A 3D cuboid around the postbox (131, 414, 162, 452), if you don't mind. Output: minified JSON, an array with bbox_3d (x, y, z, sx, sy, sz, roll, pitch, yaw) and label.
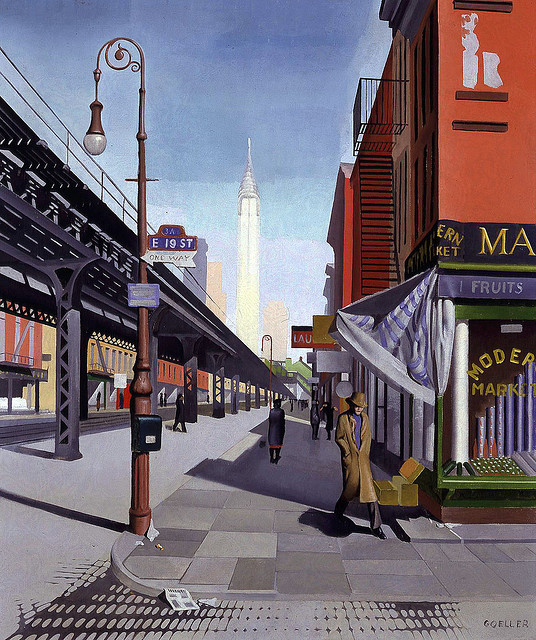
[{"bbox_3d":[-1.700,1.588,11.794,0.429,0.529,0.478,1,-5,-5],"label":"postbox"}]

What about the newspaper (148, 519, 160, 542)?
[{"bbox_3d":[-1.626,2.997,11.970,0.137,0.322,0.042,-1,-18,-6],"label":"newspaper"}]

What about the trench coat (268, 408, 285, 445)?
[{"bbox_3d":[0.200,2.395,18.952,0.328,0.822,0.753,0,-5,-2],"label":"trench coat"}]

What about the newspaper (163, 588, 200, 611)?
[{"bbox_3d":[-1.007,3.248,9.787,0.331,0.185,0.488,3,-7,-30],"label":"newspaper"}]

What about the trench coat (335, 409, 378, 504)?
[{"bbox_3d":[1.298,2.004,12.365,0.587,1.359,0.532,0,-4,7],"label":"trench coat"}]

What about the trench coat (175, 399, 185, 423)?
[{"bbox_3d":[-3.154,3.259,30.093,0.266,0.811,1.488,1,-6,-8],"label":"trench coat"}]
